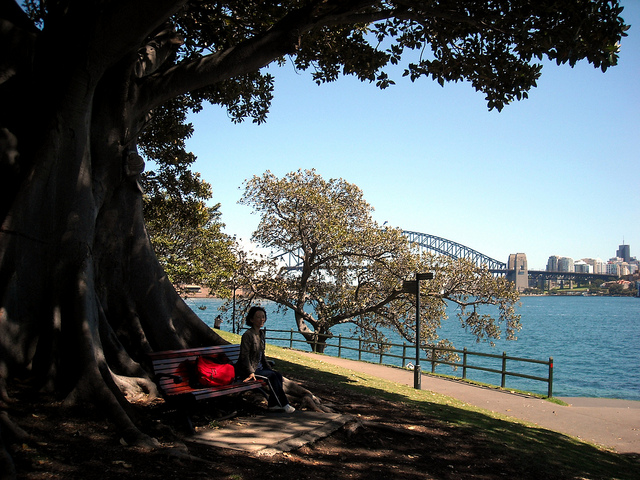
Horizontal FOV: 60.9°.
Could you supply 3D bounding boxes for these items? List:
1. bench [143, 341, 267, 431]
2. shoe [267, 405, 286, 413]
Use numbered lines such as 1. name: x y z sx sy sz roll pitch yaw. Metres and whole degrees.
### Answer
1. bench: -1.716 2.194 8.428 0.841 0.957 2.005 -3 -9 23
2. shoe: -0.684 2.649 8.544 0.295 0.118 0.101 -2 -17 1
